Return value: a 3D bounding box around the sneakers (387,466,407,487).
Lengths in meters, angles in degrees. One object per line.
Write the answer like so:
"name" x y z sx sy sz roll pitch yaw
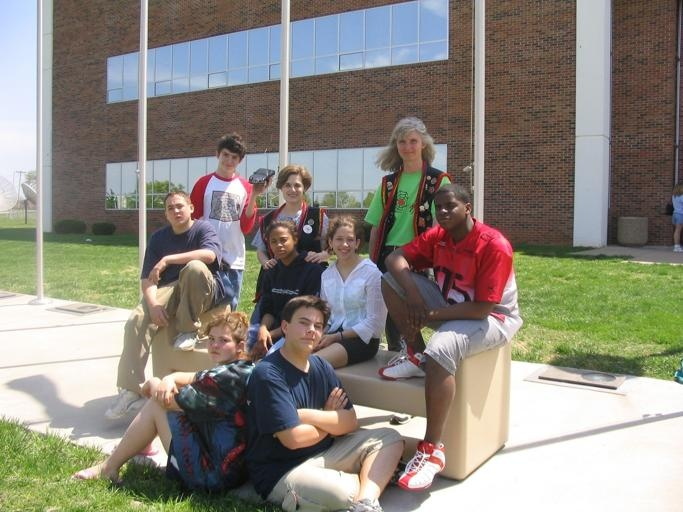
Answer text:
"sneakers" 0.457 1.804 4.903 0.075 0.108 0.235 -7 -10 20

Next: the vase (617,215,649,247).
"vase" 9.602 -0.839 19.771 0.845 1.055 0.911 1 -4 18

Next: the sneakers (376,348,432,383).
"sneakers" 0.542 0.935 5.107 0.484 0.258 0.178 -2 5 -4

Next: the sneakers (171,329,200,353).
"sneakers" -1.584 0.858 6.049 0.184 0.154 0.364 0 3 -6

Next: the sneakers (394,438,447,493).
"sneakers" 0.655 1.644 4.725 0.201 0.283 0.564 5 12 41

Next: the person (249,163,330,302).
"person" -0.582 0.128 6.588 0.885 2.181 0.679 1 4 9

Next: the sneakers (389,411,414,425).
"sneakers" 0.573 1.606 5.900 0.211 0.113 0.287 -2 -2 28

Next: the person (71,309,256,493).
"person" -1.392 1.185 5.006 1.262 1.470 0.678 9 -7 -10
